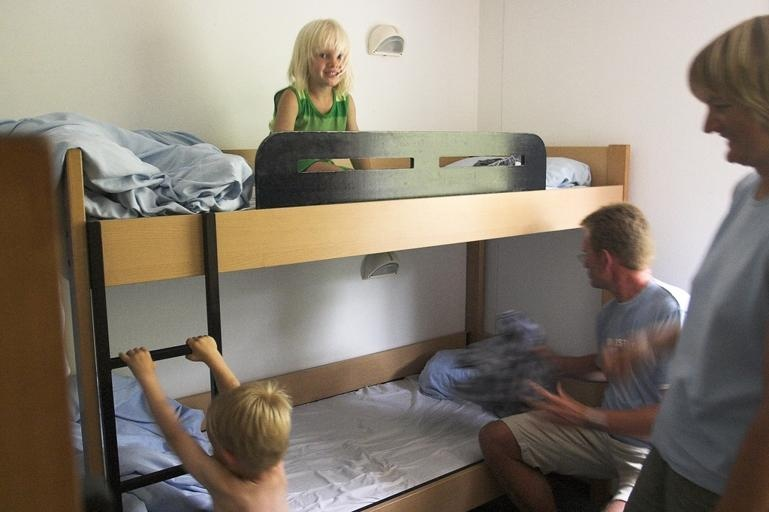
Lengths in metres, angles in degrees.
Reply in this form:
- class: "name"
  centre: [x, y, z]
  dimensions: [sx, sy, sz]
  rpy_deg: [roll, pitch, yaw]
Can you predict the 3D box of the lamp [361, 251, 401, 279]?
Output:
- class: "lamp"
  centre: [-0.031, 0.046, 3.306]
  dimensions: [0.212, 0.104, 0.119]
  rpy_deg: [-9, 41, -7]
